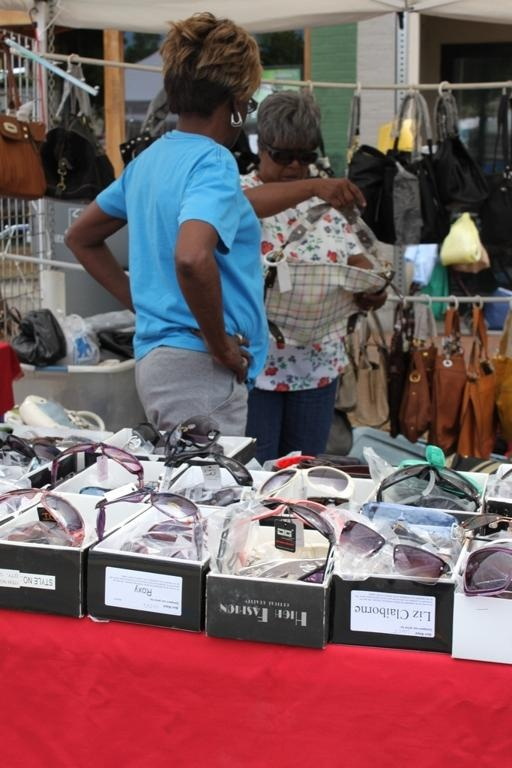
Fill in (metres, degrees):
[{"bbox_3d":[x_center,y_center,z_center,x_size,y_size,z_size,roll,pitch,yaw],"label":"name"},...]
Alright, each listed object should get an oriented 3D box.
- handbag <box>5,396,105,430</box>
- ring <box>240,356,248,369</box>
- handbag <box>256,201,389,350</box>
[{"bbox_3d":[-0.756,0.091,2.512,0.284,0.094,0.172,15,-9,38],"label":"handbag"},{"bbox_3d":[-0.027,-0.051,1.540,0.023,0.022,0.022,-11,1,0],"label":"ring"},{"bbox_3d":[0.158,-0.315,2.025,0.471,0.433,0.344,10,5,27],"label":"handbag"}]
